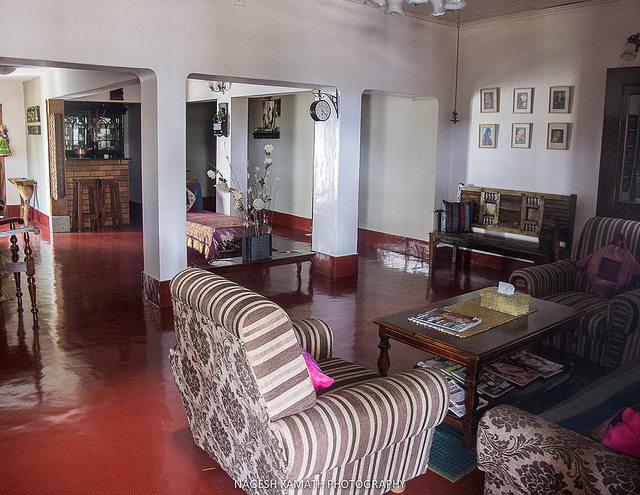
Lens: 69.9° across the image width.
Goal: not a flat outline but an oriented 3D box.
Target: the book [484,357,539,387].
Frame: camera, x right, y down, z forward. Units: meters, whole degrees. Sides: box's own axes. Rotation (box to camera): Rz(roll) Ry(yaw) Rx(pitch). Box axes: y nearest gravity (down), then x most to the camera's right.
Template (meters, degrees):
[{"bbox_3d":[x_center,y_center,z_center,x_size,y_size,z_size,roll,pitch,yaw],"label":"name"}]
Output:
[{"bbox_3d":[1.543,0.985,3.663,0.352,0.081,0.302,-9,12,-39],"label":"book"}]

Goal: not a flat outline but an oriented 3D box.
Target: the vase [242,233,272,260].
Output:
[{"bbox_3d":[-0.824,-0.031,6.043,0.501,0.401,0.284,-4,9,-36],"label":"vase"}]

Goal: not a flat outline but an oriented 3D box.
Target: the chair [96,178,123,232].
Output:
[{"bbox_3d":[-4.699,-0.999,10.211,0.470,1.122,0.692,-5,10,-23],"label":"chair"}]

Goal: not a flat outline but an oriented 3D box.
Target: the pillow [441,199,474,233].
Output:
[{"bbox_3d":[2.217,-0.500,7.394,0.478,0.485,0.182,4,3,-7],"label":"pillow"}]

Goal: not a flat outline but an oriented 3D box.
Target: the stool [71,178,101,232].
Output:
[{"bbox_3d":[-5.117,-0.959,9.972,0.551,1.128,0.668,-7,11,-35],"label":"stool"}]

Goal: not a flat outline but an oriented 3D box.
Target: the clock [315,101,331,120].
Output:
[{"bbox_3d":[0.031,-1.951,6.437,0.248,0.264,0.078,-1,1,-43],"label":"clock"}]

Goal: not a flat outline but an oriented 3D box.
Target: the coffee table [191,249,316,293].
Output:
[{"bbox_3d":[-0.858,0.368,6.243,1.623,0.571,0.458,-7,17,-20],"label":"coffee table"}]

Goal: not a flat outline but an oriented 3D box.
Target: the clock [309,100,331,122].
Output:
[{"bbox_3d":[0.001,-1.925,6.489,0.260,0.274,0.256,-18,13,-38],"label":"clock"}]

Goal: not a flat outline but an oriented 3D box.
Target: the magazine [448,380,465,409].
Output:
[{"bbox_3d":[0.988,1.040,3.317,0.096,0.041,0.129,-2,20,-18],"label":"magazine"}]

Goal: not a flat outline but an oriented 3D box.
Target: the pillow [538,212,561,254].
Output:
[{"bbox_3d":[3.135,-0.206,6.295,0.142,0.508,0.311,7,3,-21],"label":"pillow"}]

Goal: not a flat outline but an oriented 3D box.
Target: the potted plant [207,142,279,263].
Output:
[{"bbox_3d":[-0.871,-0.473,6.197,0.592,1.356,0.959,-12,-1,10],"label":"potted plant"}]
